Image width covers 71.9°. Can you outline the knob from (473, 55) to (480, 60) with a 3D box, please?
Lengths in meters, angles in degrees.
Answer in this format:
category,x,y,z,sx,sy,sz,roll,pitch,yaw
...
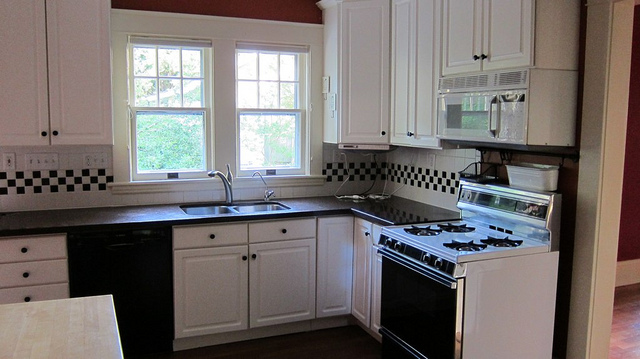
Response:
category,x,y,z,sx,sy,sz,roll,pitch,yaw
knob,1.427,-1.112,4.026,0.044,0.028,0.011,-5,6,45

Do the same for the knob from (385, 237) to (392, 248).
category,x,y,z,sx,sy,sz,roll,pitch,yaw
knob,0.628,0.583,4.070,0.062,0.077,0.022,4,0,37

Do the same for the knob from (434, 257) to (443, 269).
category,x,y,z,sx,sy,sz,roll,pitch,yaw
knob,0.978,0.690,3.648,0.062,0.079,0.023,8,-5,40

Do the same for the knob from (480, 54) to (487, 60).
category,x,y,z,sx,sy,sz,roll,pitch,yaw
knob,1.477,-1.103,3.982,0.032,0.036,0.091,1,20,19

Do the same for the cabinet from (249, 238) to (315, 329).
category,x,y,z,sx,sy,sz,roll,pitch,yaw
cabinet,-0.505,1.095,4.967,0.944,0.850,0.850,-2,0,8

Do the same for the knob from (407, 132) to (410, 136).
category,x,y,z,sx,sy,sz,roll,pitch,yaw
knob,0.941,-0.485,4.722,0.026,0.042,0.025,1,3,-9

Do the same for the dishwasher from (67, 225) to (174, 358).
category,x,y,z,sx,sy,sz,roll,pitch,yaw
dishwasher,-1.892,1.117,4.321,0.972,1.338,0.191,-5,12,-10

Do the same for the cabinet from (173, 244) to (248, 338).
category,x,y,z,sx,sy,sz,roll,pitch,yaw
cabinet,-1.246,1.168,4.770,0.783,0.885,0.643,1,-5,-31

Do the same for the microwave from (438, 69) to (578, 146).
category,x,y,z,sx,sy,sz,roll,pitch,yaw
microwave,1.888,-0.694,4.376,0.902,0.727,1.342,-2,9,-15

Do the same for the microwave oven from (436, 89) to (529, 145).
category,x,y,z,sx,sy,sz,roll,pitch,yaw
microwave oven,1.307,-0.649,4.202,1.076,0.535,0.555,-5,10,-25

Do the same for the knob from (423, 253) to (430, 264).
category,x,y,z,sx,sy,sz,roll,pitch,yaw
knob,0.902,0.666,3.732,0.063,0.072,0.076,-2,-21,18

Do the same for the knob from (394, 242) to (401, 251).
category,x,y,z,sx,sy,sz,roll,pitch,yaw
knob,0.702,0.605,3.988,0.048,0.074,0.025,12,7,39
